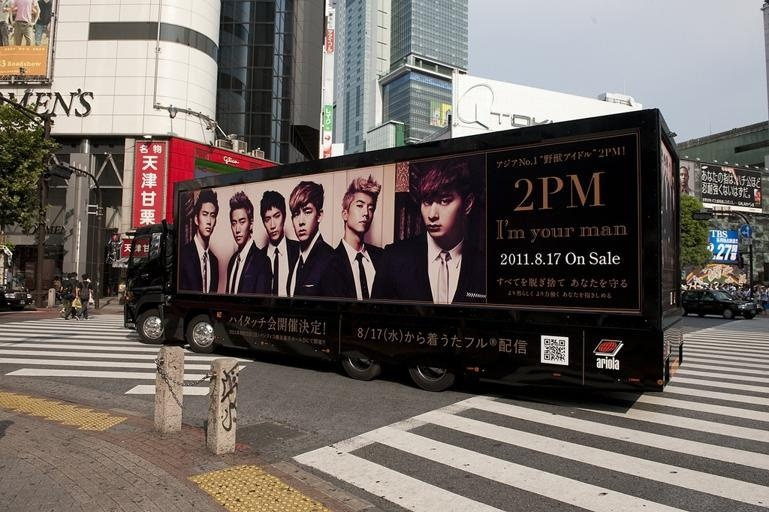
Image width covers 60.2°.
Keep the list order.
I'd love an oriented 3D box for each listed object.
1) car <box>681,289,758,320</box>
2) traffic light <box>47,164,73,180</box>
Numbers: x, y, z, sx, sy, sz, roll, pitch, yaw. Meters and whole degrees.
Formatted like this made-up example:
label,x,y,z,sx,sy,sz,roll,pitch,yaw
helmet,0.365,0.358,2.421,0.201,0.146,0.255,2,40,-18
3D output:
label,x,y,z,sx,sy,sz,roll,pitch,yaw
car,17.887,2.533,35.863,1.501,1.440,3.652,0,0,-38
traffic light,-14.874,-3.841,30.273,0.737,0.729,1.029,0,-6,35
